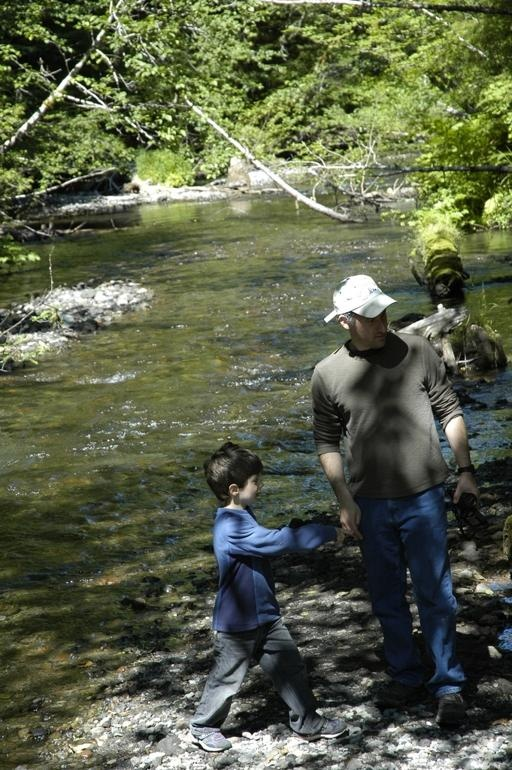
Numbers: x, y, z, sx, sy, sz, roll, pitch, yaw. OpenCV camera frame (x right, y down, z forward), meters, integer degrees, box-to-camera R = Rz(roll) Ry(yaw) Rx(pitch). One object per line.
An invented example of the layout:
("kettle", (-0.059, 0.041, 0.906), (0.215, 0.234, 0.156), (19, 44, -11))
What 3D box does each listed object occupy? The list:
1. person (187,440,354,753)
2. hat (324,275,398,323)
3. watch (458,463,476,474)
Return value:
("person", (0.000, 0.853, 2.876), (0.750, 0.900, 0.283), (-10, 6, 5))
("hat", (0.425, -0.359, 3.084), (0.190, 0.132, 0.270), (-27, 5, -36))
("watch", (0.938, 0.378, 3.137), (0.065, 0.026, 0.062), (-8, 2, -36))
